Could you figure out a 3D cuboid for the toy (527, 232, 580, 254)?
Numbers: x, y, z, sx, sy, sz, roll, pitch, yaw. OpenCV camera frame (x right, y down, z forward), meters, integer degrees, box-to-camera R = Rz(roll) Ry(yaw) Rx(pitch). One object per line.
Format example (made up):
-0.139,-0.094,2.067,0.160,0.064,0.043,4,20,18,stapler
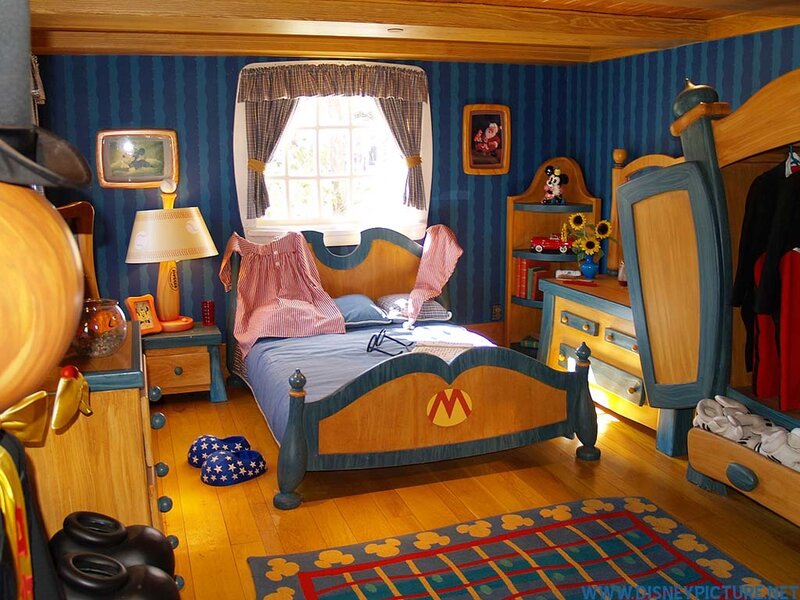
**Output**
1.350,-0.512,5.331,0.309,0.138,0.169,4,8,13,toy

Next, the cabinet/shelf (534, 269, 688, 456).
1.702,0.344,4.374,0.762,0.884,1.378,-9,15,-15,cabinet/shelf

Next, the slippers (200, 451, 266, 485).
-0.968,0.979,3.508,0.276,0.099,0.192,-3,7,-35,slippers

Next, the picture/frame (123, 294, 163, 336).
-1.770,0.102,4.160,0.205,0.248,0.065,-17,-15,-44,picture/frame

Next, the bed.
-0.123,0.166,4.341,2.020,1.149,2.461,-3,12,-21,bed

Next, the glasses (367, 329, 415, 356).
-0.082,0.311,4.221,0.204,0.114,0.209,-5,16,-32,glasses

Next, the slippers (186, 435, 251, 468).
-1.137,0.913,3.738,0.330,0.117,0.191,-2,4,-34,slippers

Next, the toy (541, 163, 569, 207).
1.412,-1.056,5.407,0.219,0.356,0.382,2,12,14,toy

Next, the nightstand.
-1.733,0.514,4.738,0.643,0.547,0.485,-5,12,-19,nightstand

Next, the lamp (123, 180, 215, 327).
-1.780,-0.329,4.588,0.573,1.124,0.593,-12,16,-43,lamp
